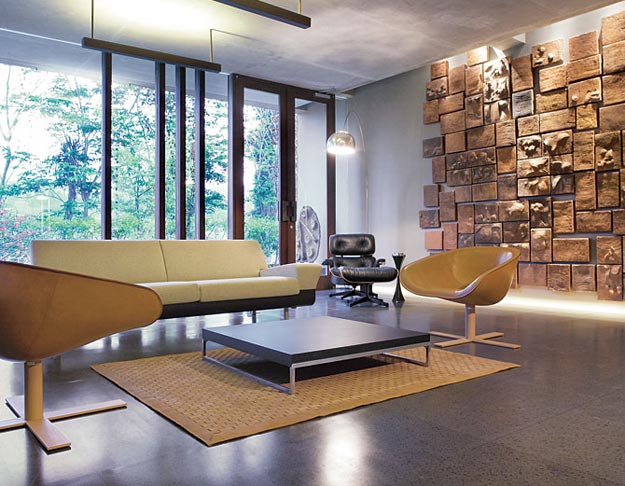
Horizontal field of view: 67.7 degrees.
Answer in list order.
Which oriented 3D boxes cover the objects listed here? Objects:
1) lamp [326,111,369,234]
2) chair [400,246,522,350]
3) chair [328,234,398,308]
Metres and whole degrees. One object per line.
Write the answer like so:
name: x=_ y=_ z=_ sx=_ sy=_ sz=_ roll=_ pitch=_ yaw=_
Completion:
lamp: x=0.704 y=-1.262 z=8.121 sx=0.638 sy=2.169 sz=0.309 roll=0 pitch=3 yaw=21
chair: x=1.216 y=0.407 z=3.727 sx=0.830 sy=0.734 sz=0.842 roll=-1 pitch=0 yaw=-28
chair: x=0.649 y=0.341 z=6.361 sx=0.776 sy=0.771 sz=1.044 roll=1 pitch=-2 yaw=-11
